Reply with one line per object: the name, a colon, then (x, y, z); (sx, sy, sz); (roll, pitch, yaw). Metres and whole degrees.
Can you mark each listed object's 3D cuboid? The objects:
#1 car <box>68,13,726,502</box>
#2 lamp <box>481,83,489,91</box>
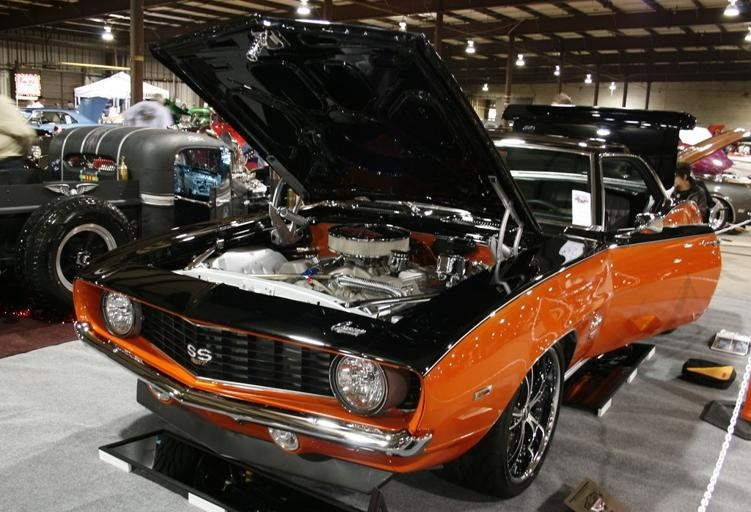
car: (0.668, -0.125, 3.188); (2.198, 1.465, 3.826); (9, 15, 38)
lamp: (8.175, -12.496, 35.495); (0.505, 0.217, 0.670); (-2, 9, 9)
